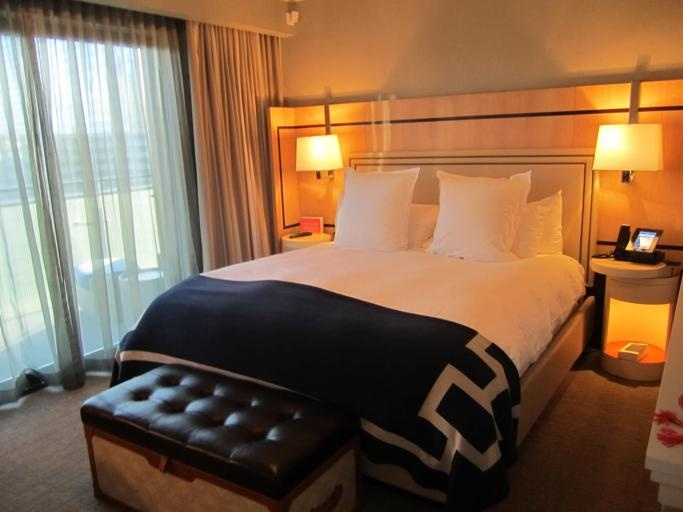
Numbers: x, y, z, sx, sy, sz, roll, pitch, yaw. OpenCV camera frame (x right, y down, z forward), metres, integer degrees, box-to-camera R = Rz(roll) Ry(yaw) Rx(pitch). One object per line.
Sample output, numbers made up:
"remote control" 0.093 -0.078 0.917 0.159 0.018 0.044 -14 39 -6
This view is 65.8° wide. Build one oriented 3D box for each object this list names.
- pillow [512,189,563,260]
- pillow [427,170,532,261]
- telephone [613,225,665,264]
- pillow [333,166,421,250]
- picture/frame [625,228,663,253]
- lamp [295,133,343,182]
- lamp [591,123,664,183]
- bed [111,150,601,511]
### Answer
"pillow" 1.438 -0.243 3.970 0.432 0.435 0.163 -4 6 -21
"pillow" 0.982 -0.298 3.948 0.720 0.636 0.396 8 15 30
"telephone" 2.072 -0.072 3.729 0.260 0.279 0.308 -9 15 -43
"pillow" 0.209 -0.394 4.287 0.712 0.676 0.271 0 12 -27
"picture/frame" 2.106 -0.107 3.679 0.193 0.149 0.151 6 16 29
"lamp" -0.210 -0.903 4.838 0.386 0.395 0.339 7 23 26
"lamp" 1.971 -0.700 3.638 0.385 0.386 0.374 3 10 15
"bed" 0.592 0.297 3.337 1.844 1.057 2.224 7 13 35
